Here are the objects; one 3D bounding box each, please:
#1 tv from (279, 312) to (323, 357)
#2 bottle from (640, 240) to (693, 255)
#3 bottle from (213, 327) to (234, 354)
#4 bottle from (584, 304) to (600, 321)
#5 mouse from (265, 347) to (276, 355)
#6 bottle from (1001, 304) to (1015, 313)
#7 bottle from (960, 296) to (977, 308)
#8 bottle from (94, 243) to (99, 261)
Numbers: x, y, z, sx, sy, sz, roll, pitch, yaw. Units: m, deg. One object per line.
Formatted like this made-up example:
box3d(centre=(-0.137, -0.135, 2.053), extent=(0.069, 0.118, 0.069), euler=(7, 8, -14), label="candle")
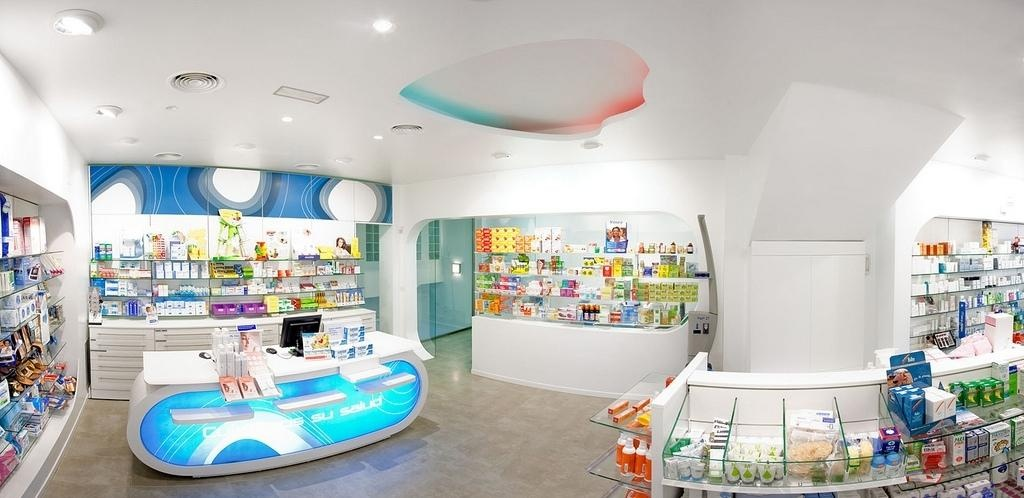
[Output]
box3d(centre=(-3.444, 1.436, 8.558), extent=(0.798, 0.599, 0.386), euler=(-1, 6, -19), label="tv")
box3d(centre=(2.987, -0.029, 10.057), extent=(1.008, 0.217, 0.288), euler=(0, 0, 15), label="bottle")
box3d(centre=(-4.461, 1.432, 8.066), extent=(0.235, 0.351, 0.441), euler=(-2, 0, -40), label="bottle")
box3d(centre=(1.583, 1.254, 10.221), extent=(0.389, 0.287, 0.207), euler=(3, 6, 31), label="bottle")
box3d(centre=(-3.927, 1.670, 8.521), extent=(0.218, 0.101, 0.196), euler=(0, -1, -7), label="mouse")
box3d(centre=(10.787, 1.304, 11.340), extent=(0.253, 0.135, 0.113), euler=(-3, -11, -6), label="bottle")
box3d(centre=(9.230, 1.077, 10.548), extent=(0.314, 0.225, 0.098), euler=(1, -6, -14), label="bottle")
box3d(centre=(-8.016, 0.050, 10.060), extent=(0.172, 0.284, 0.055), euler=(0, 0, 27), label="bottle")
